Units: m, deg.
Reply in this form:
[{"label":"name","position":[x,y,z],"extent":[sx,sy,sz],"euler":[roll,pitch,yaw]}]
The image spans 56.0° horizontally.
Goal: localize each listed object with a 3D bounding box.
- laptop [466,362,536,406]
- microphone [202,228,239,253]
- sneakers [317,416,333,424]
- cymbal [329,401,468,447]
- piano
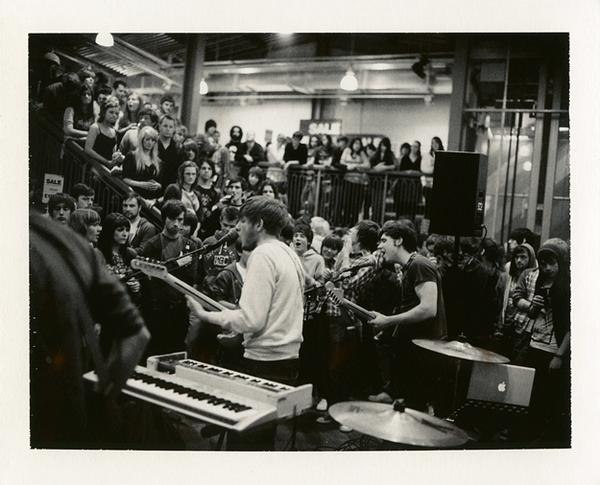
[{"label":"laptop","position":[1.392,0.977,3.859],"extent":[0.376,0.312,0.297],"euler":[5,-3,5]},{"label":"microphone","position":[-0.581,-0.013,4.270],"extent":[0.278,0.083,0.060],"euler":[-26,-9,5]},{"label":"sneakers","position":[0.172,1.240,3.927],"extent":[0.119,0.055,0.043],"euler":[4,-4,-1]},{"label":"cymbal","position":[0.555,0.960,3.142],"extent":[0.720,0.156,0.778],"euler":[6,-8,25]},{"label":"piano","position":[-0.540,0.944,3.489],"extent":[1.163,0.229,0.464],"euler":[8,4,27]}]
